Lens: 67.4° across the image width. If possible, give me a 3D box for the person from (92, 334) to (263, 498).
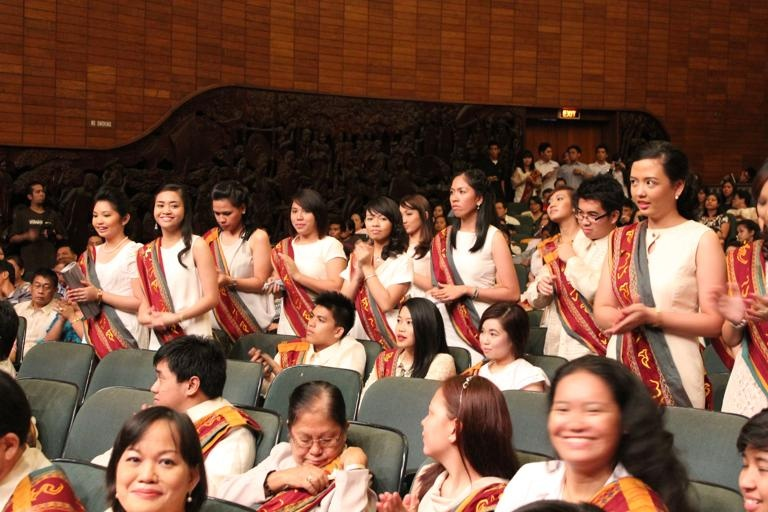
[{"bbox_3d":[-1.000,0.813,2.737,0.552,0.815,0.973,7,-13,-42],"label":"person"}]
